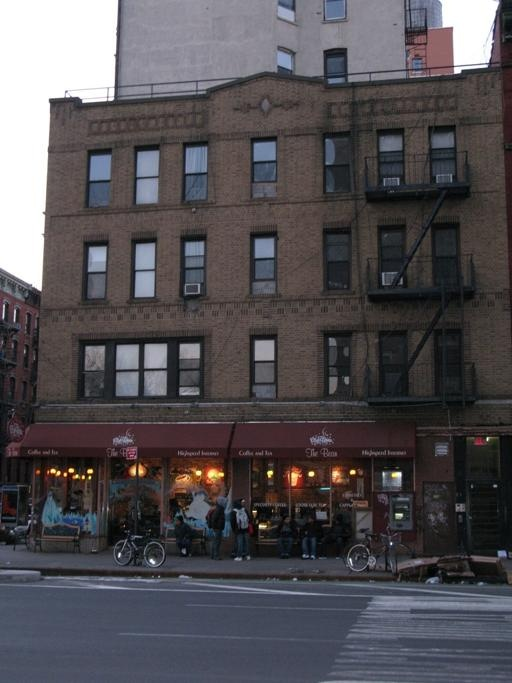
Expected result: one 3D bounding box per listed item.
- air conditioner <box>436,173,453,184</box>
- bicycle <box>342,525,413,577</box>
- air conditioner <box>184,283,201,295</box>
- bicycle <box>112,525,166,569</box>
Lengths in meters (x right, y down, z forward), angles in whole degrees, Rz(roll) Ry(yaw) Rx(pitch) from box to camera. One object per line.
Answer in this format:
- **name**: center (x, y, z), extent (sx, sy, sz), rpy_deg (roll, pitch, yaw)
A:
- **air conditioner**: center (5.147, -4.415, 27.013), extent (0.374, 0.421, 0.299), rpy_deg (-1, -8, 8)
- **bicycle**: center (2.590, 4.798, 22.862), extent (1.868, 1.306, 1.001), rpy_deg (-7, -12, 18)
- **air conditioner**: center (-1.794, -1.460, 28.121), extent (0.481, 0.394, 0.280), rpy_deg (-3, -11, 16)
- **bicycle**: center (-2.767, 4.928, 23.790), extent (1.684, 1.108, 0.801), rpy_deg (0, -15, 22)
